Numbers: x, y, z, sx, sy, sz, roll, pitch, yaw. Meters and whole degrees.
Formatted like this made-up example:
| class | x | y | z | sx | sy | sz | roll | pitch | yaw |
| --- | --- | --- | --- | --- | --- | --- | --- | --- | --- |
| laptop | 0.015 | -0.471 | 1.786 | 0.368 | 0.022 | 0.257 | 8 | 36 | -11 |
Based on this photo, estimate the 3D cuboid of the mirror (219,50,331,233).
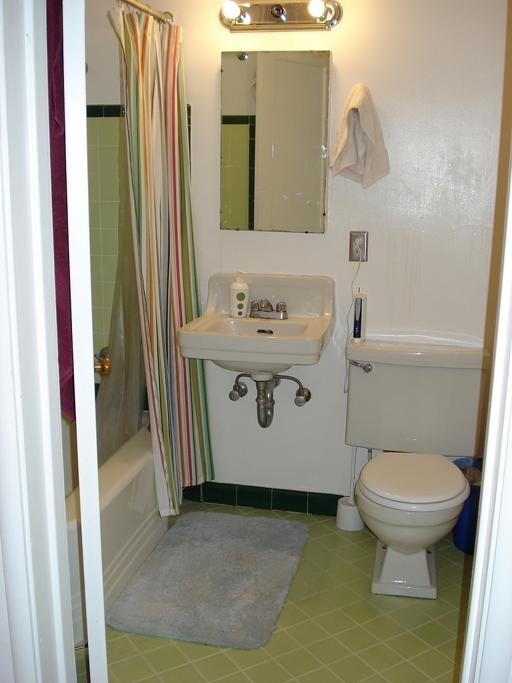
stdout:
| class | x | y | z | sx | sy | sz | roll | pitch | yaw |
| --- | --- | --- | --- | --- | --- | --- | --- | --- | --- |
| mirror | 0.069 | -0.818 | 2.253 | 0.450 | 0.705 | 0.035 | 3 | 11 | 13 |

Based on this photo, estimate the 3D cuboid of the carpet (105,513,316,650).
| class | x | y | z | sx | sy | sz | roll | pitch | yaw |
| --- | --- | --- | --- | --- | --- | --- | --- | --- | --- |
| carpet | -0.168 | 0.850 | 2.096 | 0.503 | 0.146 | 0.834 | 6 | 10 | 15 |

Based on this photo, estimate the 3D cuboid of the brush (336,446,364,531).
| class | x | y | z | sx | sy | sz | roll | pitch | yaw |
| --- | --- | --- | --- | --- | --- | --- | --- | --- | --- |
| brush | 0.409 | 0.671 | 2.471 | 0.093 | 0.375 | 0.126 | 0 | 13 | -2 |

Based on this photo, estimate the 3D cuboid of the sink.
| class | x | y | z | sx | sy | sz | roll | pitch | yaw |
| --- | --- | --- | --- | --- | --- | --- | --- | --- | --- |
| sink | 0.048 | -0.066 | 2.353 | 0.705 | 0.259 | 0.599 | 3 | 15 | 10 |

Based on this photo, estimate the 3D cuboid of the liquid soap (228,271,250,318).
| class | x | y | z | sx | sy | sz | roll | pitch | yaw |
| --- | --- | --- | --- | --- | --- | --- | --- | --- | --- |
| liquid soap | -0.074 | -0.198 | 2.353 | 0.088 | 0.187 | 0.109 | 0 | 11 | -3 |

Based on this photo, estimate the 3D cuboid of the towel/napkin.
| class | x | y | z | sx | sy | sz | roll | pitch | yaw |
| --- | --- | --- | --- | --- | --- | --- | --- | --- | --- |
| towel/napkin | 0.412 | -0.763 | 2.101 | 0.199 | 0.391 | 0.164 | 3 | 18 | 5 |

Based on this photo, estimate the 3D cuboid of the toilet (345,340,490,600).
| class | x | y | z | sx | sy | sz | roll | pitch | yaw |
| --- | --- | --- | --- | --- | --- | --- | --- | --- | --- |
| toilet | 0.591 | 0.472 | 2.139 | 0.528 | 0.884 | 0.647 | 2 | 11 | 9 |

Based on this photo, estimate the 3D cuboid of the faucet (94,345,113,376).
| class | x | y | z | sx | sy | sz | roll | pitch | yaw |
| --- | --- | --- | --- | --- | --- | --- | --- | --- | --- |
| faucet | -0.654 | 0.082 | 2.313 | 0.063 | 0.113 | 0.173 | -3 | 12 | -19 |
